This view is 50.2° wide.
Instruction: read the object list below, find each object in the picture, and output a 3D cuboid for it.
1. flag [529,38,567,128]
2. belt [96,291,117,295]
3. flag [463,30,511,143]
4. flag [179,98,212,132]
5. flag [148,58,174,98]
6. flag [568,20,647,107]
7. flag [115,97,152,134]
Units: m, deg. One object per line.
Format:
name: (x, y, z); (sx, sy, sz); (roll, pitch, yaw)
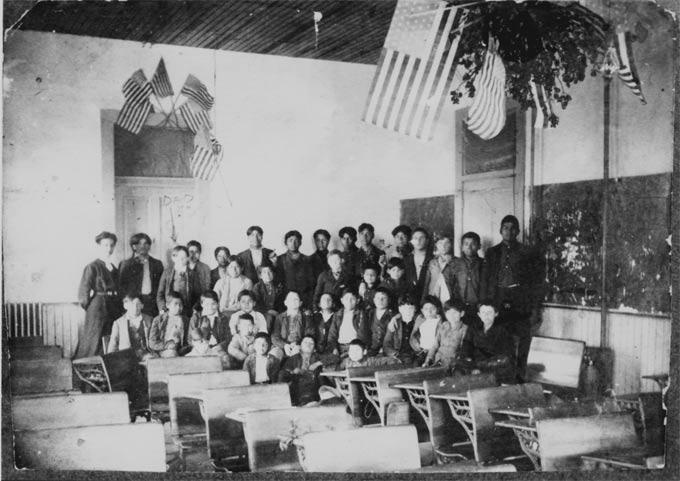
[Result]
flag: (2.216, -1.744, 8.001); (0.345, 0.902, 0.336); (7, -16, -10)
belt: (-2.399, 0.547, 7.498); (0.196, 0.042, 0.011); (1, -5, -20)
flag: (1.581, -1.634, 7.837); (0.387, 0.947, 0.606); (-1, -5, 11)
flag: (-1.526, -1.321, 7.686); (0.347, 0.344, 0.024); (0, -4, -10)
flag: (-1.874, -1.720, 7.636); (0.237, 0.412, 0.036); (1, -4, -12)
flag: (2.902, -1.811, 7.690); (0.445, 0.744, 0.442); (3, -6, -35)
flag: (-2.154, -1.352, 7.591); (0.306, 0.038, 0.450); (-8, 24, 6)
